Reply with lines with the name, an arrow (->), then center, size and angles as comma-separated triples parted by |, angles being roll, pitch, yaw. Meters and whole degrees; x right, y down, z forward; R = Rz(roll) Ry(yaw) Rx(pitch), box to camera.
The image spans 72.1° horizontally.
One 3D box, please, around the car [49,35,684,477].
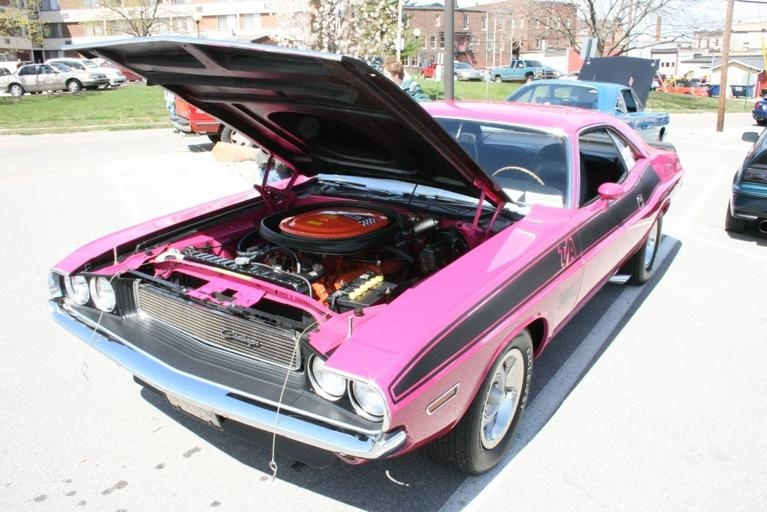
car -> 0.596, -0.278, 4.510 | 2.883, 1.880, 4.945 | 23, 34, 37
